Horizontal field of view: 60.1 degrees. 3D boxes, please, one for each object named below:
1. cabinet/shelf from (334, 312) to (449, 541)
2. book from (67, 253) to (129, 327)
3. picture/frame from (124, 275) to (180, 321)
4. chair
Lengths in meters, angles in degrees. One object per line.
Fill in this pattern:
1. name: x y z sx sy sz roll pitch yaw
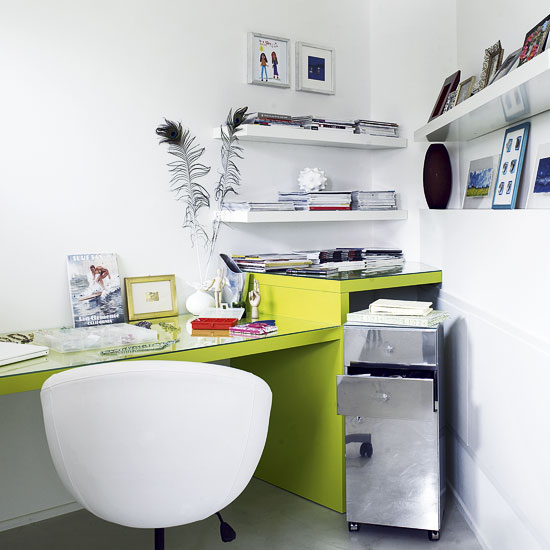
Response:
1. cabinet/shelf: 0.447 0.604 1.839 0.383 0.847 0.250 0 2 21
2. book: -0.778 0.067 2.043 0.252 0.415 0.030 -4 -4 -39
3. picture/frame: -0.586 0.109 2.194 0.175 0.169 0.019 -2 -5 -37
4. chair: -0.271 0.318 1.185 0.399 0.537 0.423 1 2 1
